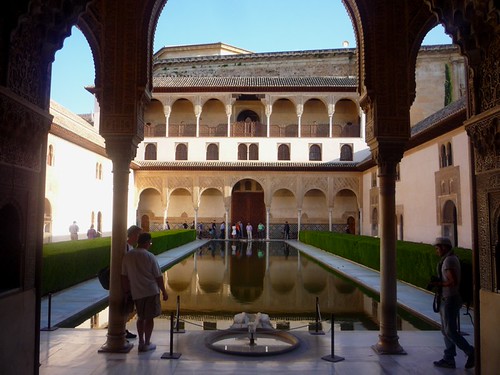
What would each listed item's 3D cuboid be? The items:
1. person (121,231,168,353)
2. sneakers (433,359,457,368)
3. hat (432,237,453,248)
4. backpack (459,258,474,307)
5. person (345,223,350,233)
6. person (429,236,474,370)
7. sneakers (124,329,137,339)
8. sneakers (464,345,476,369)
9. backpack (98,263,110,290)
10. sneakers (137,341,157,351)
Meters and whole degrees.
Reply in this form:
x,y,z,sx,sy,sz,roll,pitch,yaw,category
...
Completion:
x,y,z,sx,sy,sz,roll,pitch,yaw,category
-1.268,1.259,5.669,0.558,1.412,0.367,1,-2,-2,person
2.188,1.964,5.260,0.206,0.106,0.095,2,-13,6,sneakers
2.288,0.643,5.542,0.275,0.133,0.215,8,-5,22,hat
2.588,1.141,5.621,0.139,0.471,0.149,-2,-6,15,backpack
5.540,2.313,26.385,0.281,0.480,1.046,0,-3,11,person
2.316,1.291,5.330,0.409,1.427,0.390,-1,-3,27,person
-1.546,1.943,6.195,0.221,0.101,0.080,1,-2,-13,sneakers
2.439,1.874,5.191,0.093,0.255,0.215,-1,-3,30,sneakers
-1.978,1.235,6.320,0.144,0.371,0.602,1,-3,-18,backpack
-1.253,1.922,5.688,0.201,0.090,0.077,1,-4,-27,sneakers
